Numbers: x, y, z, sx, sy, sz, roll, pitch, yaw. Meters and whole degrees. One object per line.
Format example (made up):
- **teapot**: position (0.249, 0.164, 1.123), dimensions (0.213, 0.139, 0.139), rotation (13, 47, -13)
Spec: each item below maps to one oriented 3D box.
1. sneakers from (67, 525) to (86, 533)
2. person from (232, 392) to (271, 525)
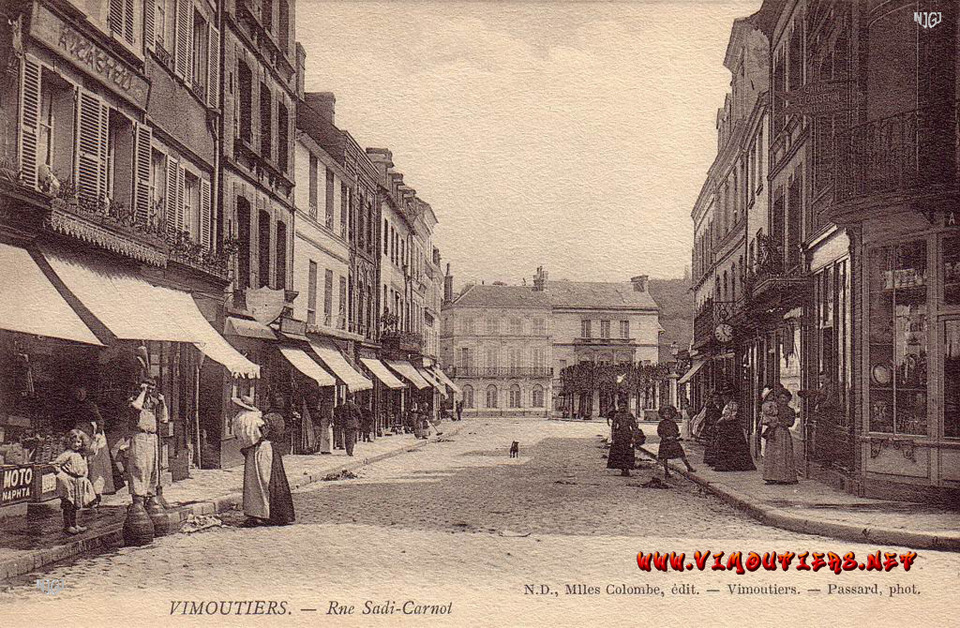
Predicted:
- **sneakers**: position (-6.484, 3.432, 18.875), dimensions (0.212, 0.070, 0.105), rotation (-1, 3, -13)
- **person**: position (-3.932, 2.509, 20.391), dimensions (0.599, 2.207, 0.660), rotation (-1, -11, -15)
